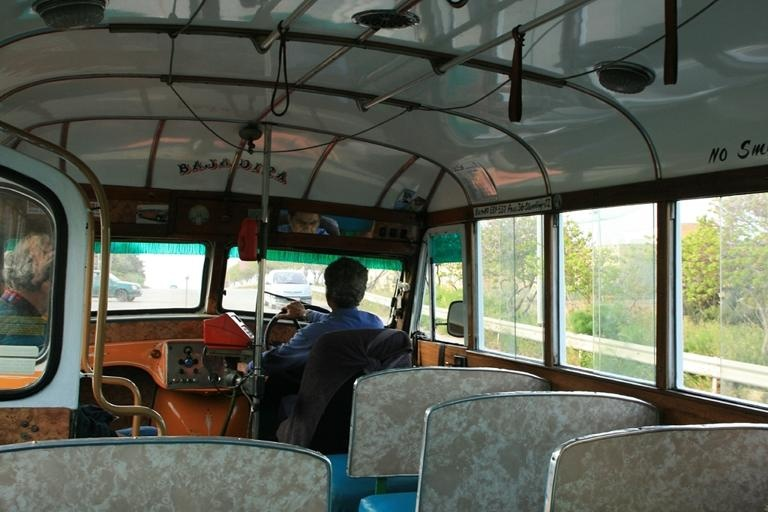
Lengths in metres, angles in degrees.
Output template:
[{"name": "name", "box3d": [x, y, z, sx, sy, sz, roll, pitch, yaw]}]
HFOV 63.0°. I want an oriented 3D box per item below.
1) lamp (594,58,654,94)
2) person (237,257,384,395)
[{"name": "lamp", "box3d": [1.673, -1.261, 4.407, 0.407, 0.128, 0.335, 2, -4, 8]}, {"name": "person", "box3d": [-0.591, 0.645, 5.797, 1.310, 1.295, 0.914, 5, 4, 27]}]
